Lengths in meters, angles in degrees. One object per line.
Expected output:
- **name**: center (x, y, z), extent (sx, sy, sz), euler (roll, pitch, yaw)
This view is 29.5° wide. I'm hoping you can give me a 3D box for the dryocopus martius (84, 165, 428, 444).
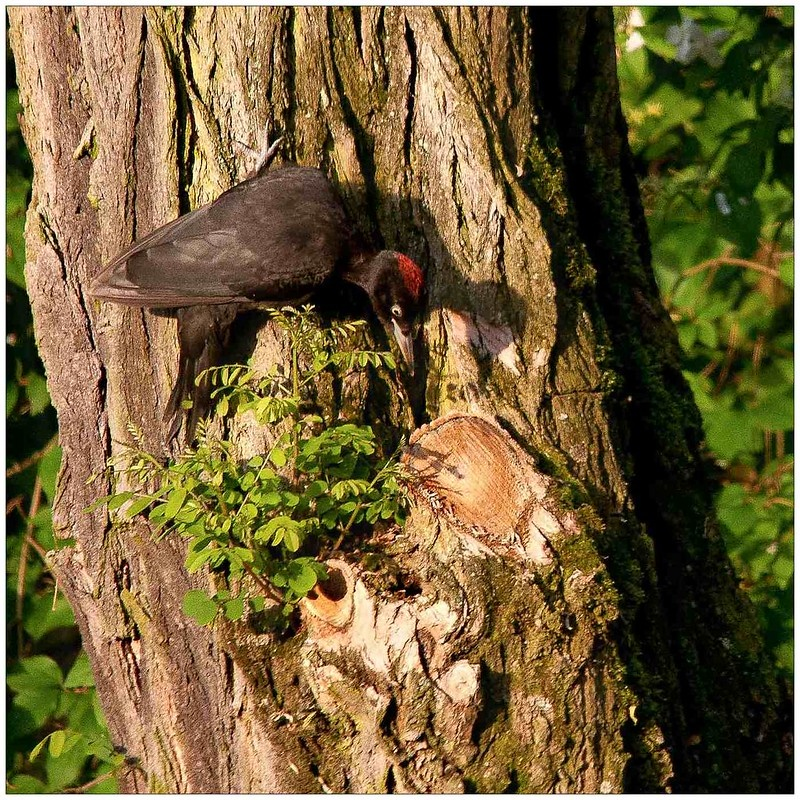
- **dryocopus martius**: center (-0.647, -0.503, 6.358), extent (1.536, 0.826, 0.803), euler (7, -49, -21)
